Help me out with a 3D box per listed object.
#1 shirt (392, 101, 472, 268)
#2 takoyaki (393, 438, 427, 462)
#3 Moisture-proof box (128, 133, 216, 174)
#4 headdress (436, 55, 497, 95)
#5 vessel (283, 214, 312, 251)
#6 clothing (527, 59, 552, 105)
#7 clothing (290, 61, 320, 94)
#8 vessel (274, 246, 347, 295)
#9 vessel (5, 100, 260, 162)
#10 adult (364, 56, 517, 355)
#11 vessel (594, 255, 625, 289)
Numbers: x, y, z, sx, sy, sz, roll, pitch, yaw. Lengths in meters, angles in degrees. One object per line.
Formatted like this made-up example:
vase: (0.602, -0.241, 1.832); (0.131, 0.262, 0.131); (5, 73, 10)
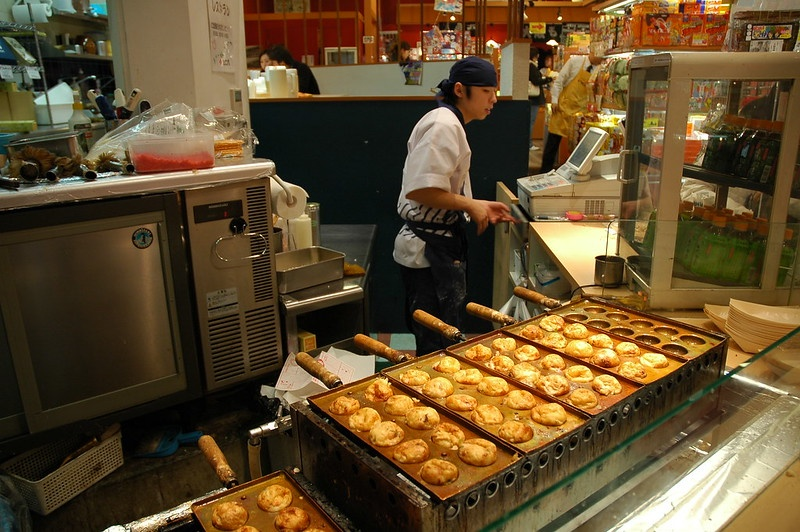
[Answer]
shirt: (0.203, -0.505, 3.257); (0.506, 1.107, 1.087); (3, 19, -2)
takoyaki: (0.026, 0.497, 1.469); (0.065, 0.021, 0.048); (-10, 25, -20)
Moisture-proof box: (-1.062, -0.549, 2.527); (0.319, 0.142, 0.201); (-10, 20, -32)
headdress: (0.391, -1.097, 3.164); (0.316, 0.223, 0.243); (6, 15, 14)
vessel: (-0.609, -0.192, 3.176); (0.154, 0.270, 0.149); (6, 19, 13)
clothing: (2.700, -3.451, 10.137); (0.440, 0.670, 0.503); (-15, 2, 39)
clothing: (-1.041, -2.083, 6.000); (0.290, 0.469, 0.471); (-3, 16, -2)
vessel: (-0.492, 0.016, 2.964); (0.349, 0.113, 0.231); (-15, 27, -34)
vessel: (-1.163, -0.710, 2.824); (0.678, 0.247, 0.500); (-5, 20, -20)
adult: (0.313, -0.150, 3.347); (0.704, 2.024, 0.878); (3, 16, 8)
vessel: (1.000, 0.021, 2.629); (0.149, 0.156, 0.151); (0, 13, 0)
